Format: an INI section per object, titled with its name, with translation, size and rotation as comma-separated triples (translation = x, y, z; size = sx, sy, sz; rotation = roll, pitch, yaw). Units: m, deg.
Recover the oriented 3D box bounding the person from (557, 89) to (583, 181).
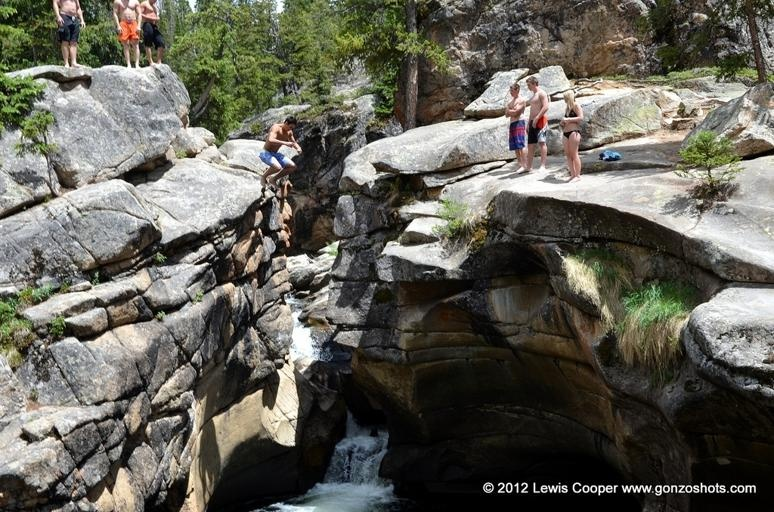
[person]
translation = 4.123, -2.633, 13.582
size = 0.407, 1.907, 0.759
rotation = -4, 26, 17
